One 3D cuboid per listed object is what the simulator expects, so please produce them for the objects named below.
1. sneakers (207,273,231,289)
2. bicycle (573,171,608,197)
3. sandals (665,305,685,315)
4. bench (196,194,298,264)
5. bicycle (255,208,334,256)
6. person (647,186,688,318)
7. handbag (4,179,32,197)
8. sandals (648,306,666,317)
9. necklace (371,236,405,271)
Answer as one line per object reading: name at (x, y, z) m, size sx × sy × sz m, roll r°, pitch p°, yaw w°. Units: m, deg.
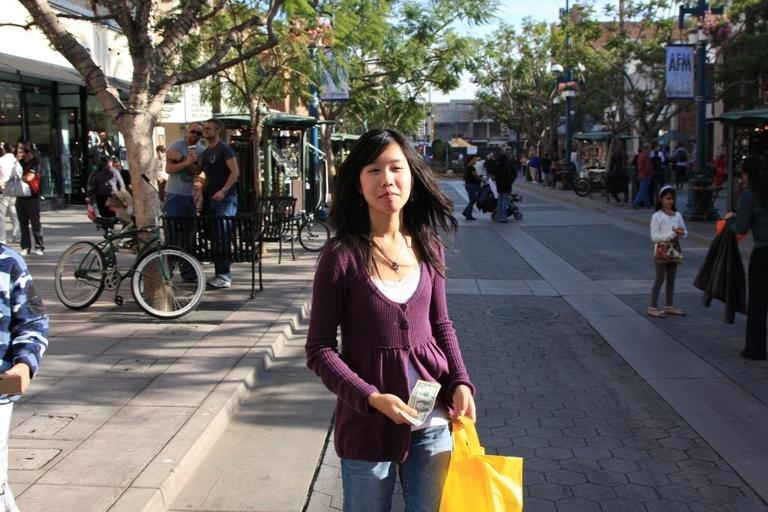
sneakers at (-2.749, 0.435, 11.052) m, size 0.205 × 0.160 × 0.374 m, roll 1°, pitch -4°, yaw 10°
bicycle at (10.297, -3.368, 31.225) m, size 2.278 × 1.333 × 1.053 m, roll 0°, pitch 8°, yaw 5°
sandals at (4.247, 0.794, 9.602) m, size 0.267 × 0.114 × 0.136 m, roll -2°, pitch 4°, yaw -10°
bench at (-2.008, -0.289, 10.660) m, size 1.005 × 0.941 × 1.782 m, roll 6°, pitch 15°, yaw 20°
bicycle at (-2.173, -0.740, 15.313) m, size 0.738 × 0.985 × 2.018 m, roll 4°, pitch -4°, yaw 44°
person at (4.105, -0.064, 9.516) m, size 0.552 × 1.888 × 0.730 m, roll 7°, pitch 16°, yaw 24°
handbag at (-7.820, -1.468, 14.097) m, size 0.357 × 0.333 × 0.143 m, roll 2°, pitch 1°, yaw -8°
sandals at (3.932, 0.803, 9.491) m, size 0.226 × 0.090 × 0.123 m, roll -1°, pitch 3°, yaw 34°
necklace at (0.017, 0.004, 3.040) m, size 0.153 × 0.039 × 0.157 m, roll -21°, pitch 62°, yaw -33°
